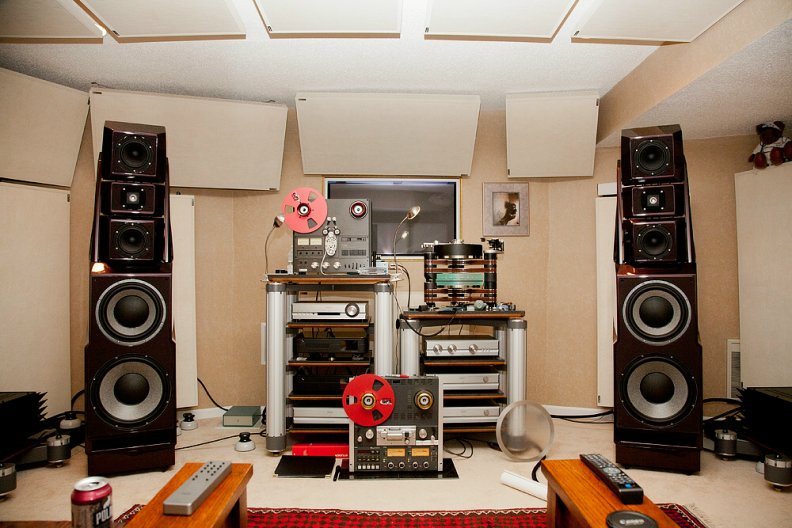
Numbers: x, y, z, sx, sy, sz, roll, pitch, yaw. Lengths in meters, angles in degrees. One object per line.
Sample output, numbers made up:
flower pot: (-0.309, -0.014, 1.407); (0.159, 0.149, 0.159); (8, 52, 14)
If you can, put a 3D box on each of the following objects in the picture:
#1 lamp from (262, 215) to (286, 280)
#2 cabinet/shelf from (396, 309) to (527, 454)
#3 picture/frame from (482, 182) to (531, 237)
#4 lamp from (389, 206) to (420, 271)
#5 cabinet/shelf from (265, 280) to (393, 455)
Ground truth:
lamp: (-1.105, -0.149, 5.333); (0.213, 0.671, 0.675); (-4, 15, -12)
cabinet/shelf: (0.593, 0.824, 5.213); (1.567, 1.342, 1.006); (0, -6, -2)
picture/frame: (1.072, -0.509, 5.621); (0.570, 0.592, 0.020); (1, -3, -1)
lamp: (0.087, -0.251, 5.590); (0.347, 0.593, 0.123); (-13, 19, -39)
cabinet/shelf: (-0.603, 0.788, 5.515); (1.456, 1.635, 1.157); (0, -3, 0)
